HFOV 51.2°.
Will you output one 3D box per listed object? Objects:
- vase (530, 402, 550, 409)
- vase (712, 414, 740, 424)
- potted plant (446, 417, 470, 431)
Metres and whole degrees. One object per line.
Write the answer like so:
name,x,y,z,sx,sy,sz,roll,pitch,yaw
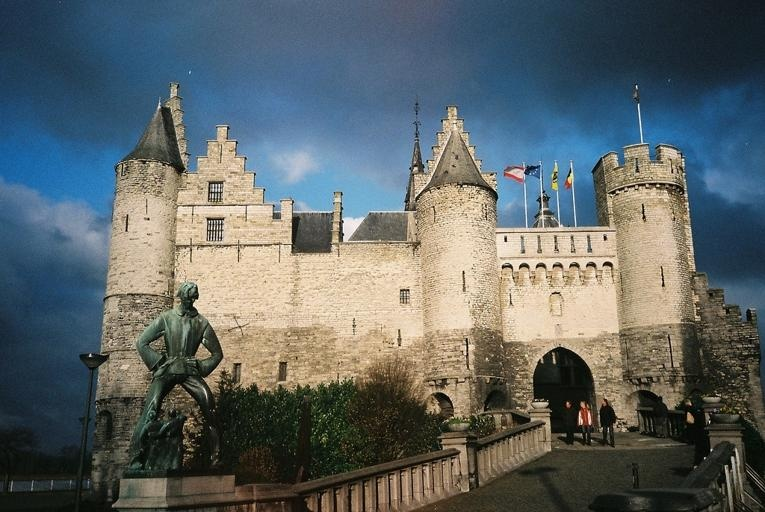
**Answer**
vase,6.428,6.182,32.953,0.630,0.312,0.327,-7,-14,24
vase,11.285,5.406,26.496,0.880,0.333,0.554,-10,-15,34
potted plant,2.512,5.712,26.809,0.697,0.228,0.664,1,-16,-3
